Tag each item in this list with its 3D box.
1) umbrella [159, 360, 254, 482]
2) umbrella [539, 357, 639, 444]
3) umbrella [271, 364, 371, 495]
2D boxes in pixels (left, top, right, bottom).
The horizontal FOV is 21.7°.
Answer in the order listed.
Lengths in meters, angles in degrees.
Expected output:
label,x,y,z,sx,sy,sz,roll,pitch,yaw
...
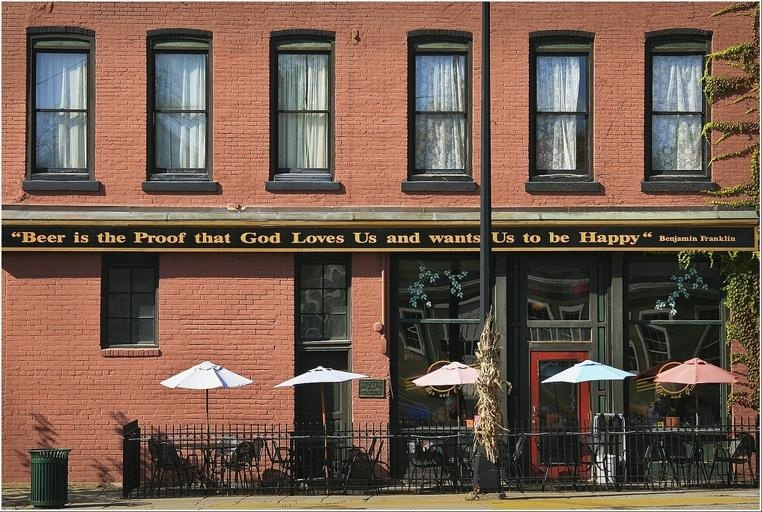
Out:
label,x,y,z,sx,sy,sz,roll,pitch,yaw
umbrella,-3.867,2.834,45.590,1.768,2.092,1.713,-6,-9,40
umbrella,4.868,3.422,46.442,2.132,1.888,2.043,-2,-2,2
umbrella,-1.254,3.867,46.130,2.245,2.688,2.190,-1,-4,-5
